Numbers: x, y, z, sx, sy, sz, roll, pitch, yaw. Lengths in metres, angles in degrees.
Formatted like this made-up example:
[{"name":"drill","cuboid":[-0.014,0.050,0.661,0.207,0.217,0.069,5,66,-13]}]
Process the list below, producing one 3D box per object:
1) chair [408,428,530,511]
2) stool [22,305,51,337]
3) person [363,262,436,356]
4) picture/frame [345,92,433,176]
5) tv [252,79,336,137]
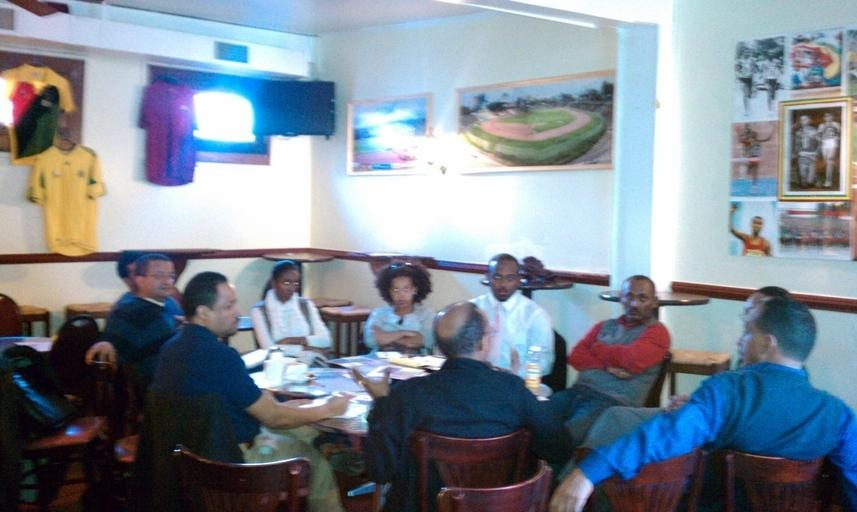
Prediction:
[{"name":"chair","cuboid":[0.184,1.090,3.649,0.605,0.645,0.517,0,8,-4]},{"name":"stool","cuboid":[-4.215,0.657,6.886,0.342,0.302,0.530,-2,6,-31]},{"name":"person","cuboid":[-0.223,0.459,5.302,0.631,0.725,0.447,1,6,9]},{"name":"picture/frame","cuboid":[-0.471,-1.453,7.756,0.037,0.929,1.429,20,25,39]},{"name":"tv","cuboid":[-1.689,-1.877,8.246,0.896,0.735,0.196,3,2,6]}]
